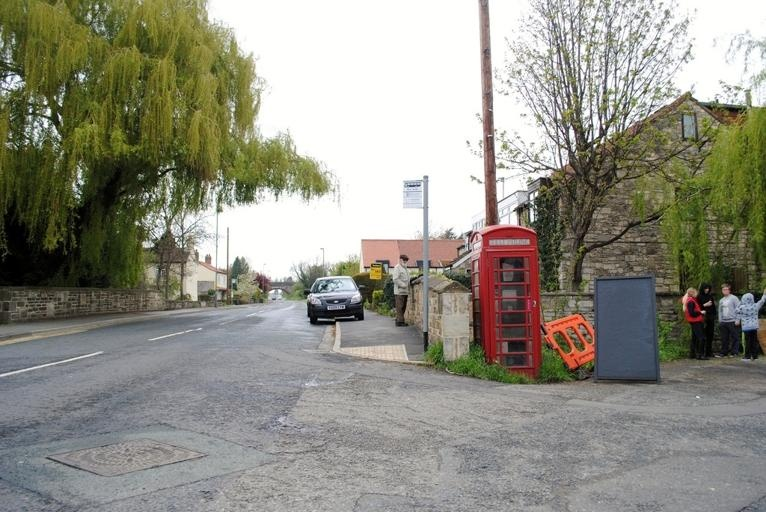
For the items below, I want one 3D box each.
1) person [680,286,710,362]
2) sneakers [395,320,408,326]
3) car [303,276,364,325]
[{"bbox_3d":[9.288,1.999,17.746,0.639,2.089,0.977,4,7,27],"label":"person"},{"bbox_3d":[0.722,2.362,21.155,0.401,0.317,0.168,0,3,-13],"label":"sneakers"},{"bbox_3d":[-1.975,1.930,24.387,2.133,1.838,2.347,0,6,-11],"label":"car"}]
